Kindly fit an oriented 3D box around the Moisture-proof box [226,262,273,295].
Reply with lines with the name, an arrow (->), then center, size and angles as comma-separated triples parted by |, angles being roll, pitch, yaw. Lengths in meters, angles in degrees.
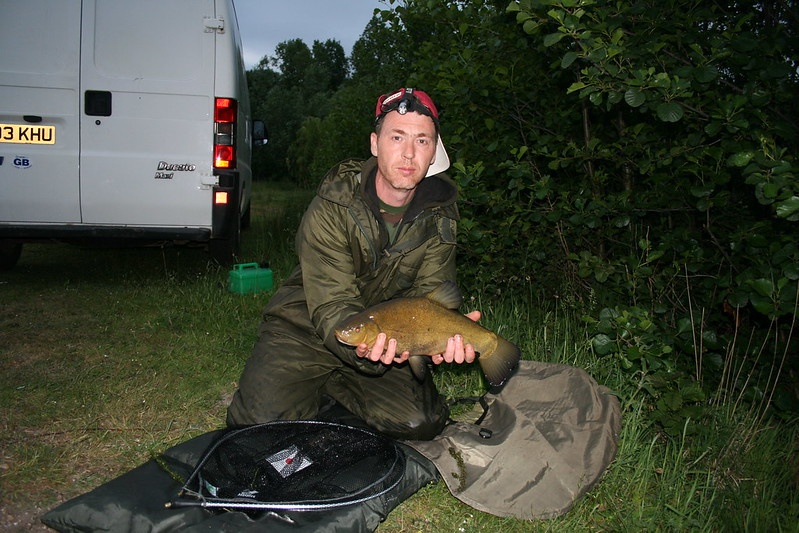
Moisture-proof box -> -1.863, 0.057, 8.100 | 0.512, 0.401, 0.370 | -2, 7, -33
